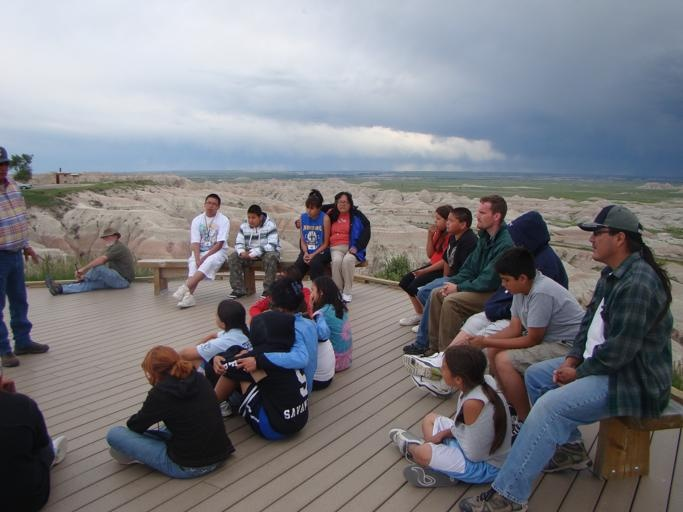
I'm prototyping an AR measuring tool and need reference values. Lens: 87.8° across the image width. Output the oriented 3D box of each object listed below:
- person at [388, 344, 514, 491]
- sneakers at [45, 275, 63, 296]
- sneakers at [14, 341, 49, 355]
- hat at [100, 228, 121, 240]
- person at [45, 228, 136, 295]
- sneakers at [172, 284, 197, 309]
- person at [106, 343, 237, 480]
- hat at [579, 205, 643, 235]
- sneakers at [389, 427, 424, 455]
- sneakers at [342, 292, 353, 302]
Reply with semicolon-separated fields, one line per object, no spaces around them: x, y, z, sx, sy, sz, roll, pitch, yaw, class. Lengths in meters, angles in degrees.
0.783;1.083;2.938;1.100;1.032;0.833;5;12;25;person
-5.832;0.603;7.147;0.129;0.343;0.246;-26;12;-8;sneakers
-4.096;1.226;4.748;0.399;0.158;0.157;-2;10;-24;sneakers
-4.697;-0.467;7.169;0.389;0.161;0.437;-3;-6;-2;hat
-5.248;0.106;7.362;0.788;1.147;1.589;4;11;40;person
-2.915;0.759;6.542;0.264;0.264;0.639;18;-9;-5;sneakers
-1.292;1.160;2.769;0.865;0.902;0.837;8;10;35;person
1.802;-0.240;2.422;0.356;0.173;0.218;11;5;34;hat
0.470;1.489;2.870;0.326;0.107;0.146;18;7;37;sneakers
0.113;0.777;6.647;0.186;0.194;0.232;4;10;12;sneakers
